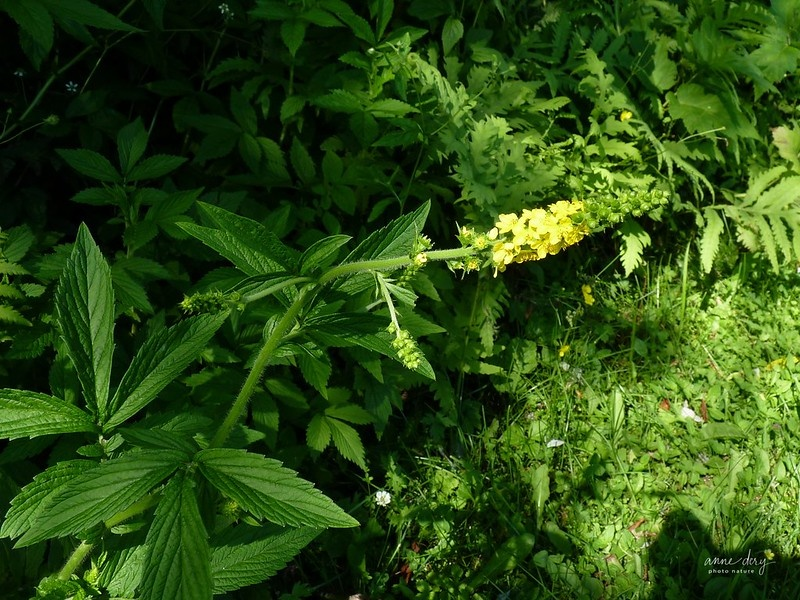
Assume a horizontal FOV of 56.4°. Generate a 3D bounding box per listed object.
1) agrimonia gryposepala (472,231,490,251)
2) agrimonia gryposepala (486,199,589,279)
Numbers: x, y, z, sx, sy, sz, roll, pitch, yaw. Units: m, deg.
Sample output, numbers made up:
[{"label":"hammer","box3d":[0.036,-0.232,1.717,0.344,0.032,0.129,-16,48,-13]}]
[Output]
[{"label":"agrimonia gryposepala","box3d":[0.281,-0.217,2.603,0.064,0.048,0.100,-5,41,-2]},{"label":"agrimonia gryposepala","box3d":[0.473,-0.232,2.597,0.330,0.123,0.226,-42,79,-10]}]
